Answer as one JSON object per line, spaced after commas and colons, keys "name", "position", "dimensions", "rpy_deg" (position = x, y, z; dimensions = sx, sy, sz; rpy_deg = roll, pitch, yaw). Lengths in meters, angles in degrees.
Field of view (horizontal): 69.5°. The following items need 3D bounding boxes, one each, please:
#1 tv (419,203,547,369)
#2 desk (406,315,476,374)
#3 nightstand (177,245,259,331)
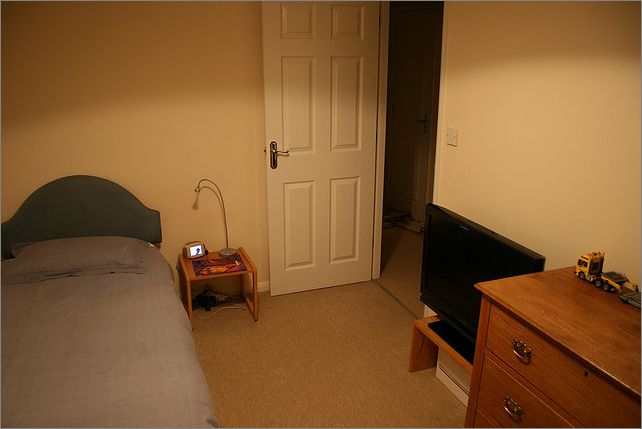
{"name": "tv", "position": [0.929, 0.461, 2.857], "dimensions": [0.223, 0.843, 0.937], "rpy_deg": [-6, 18, -20]}
{"name": "desk", "position": [0.817, 0.873, 3.091], "dimensions": [0.213, 0.351, 0.399], "rpy_deg": [-7, 27, -14]}
{"name": "nightstand", "position": [-0.861, 0.616, 3.874], "dimensions": [0.627, 0.495, 0.574], "rpy_deg": [-2, 16, -14]}
